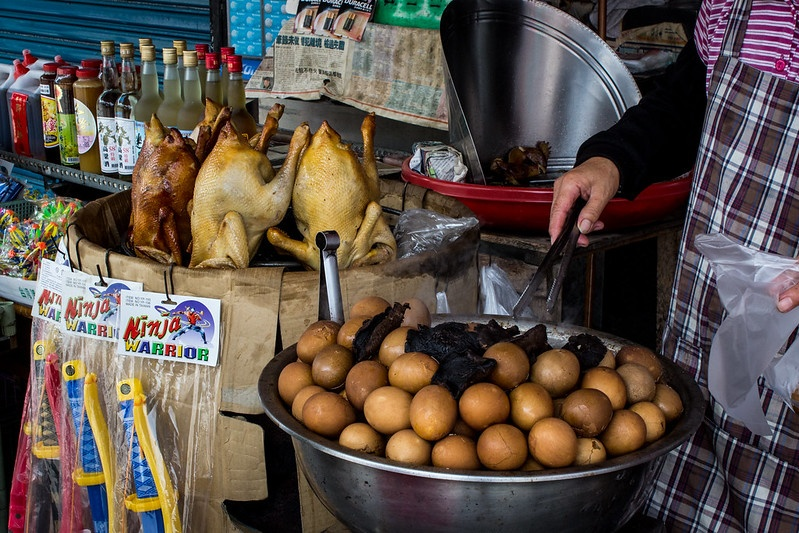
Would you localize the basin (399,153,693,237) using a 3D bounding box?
[{"bbox_3d":[0.587,-0.245,2.403,0.750,0.127,0.755,3,9,0],"label":"basin"}]

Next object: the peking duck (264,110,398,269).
[{"bbox_3d":[-0.187,-0.210,1.770,0.339,0.467,0.150,2,9,5],"label":"peking duck"}]

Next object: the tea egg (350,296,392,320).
[{"bbox_3d":[-0.069,0.100,1.445,0.069,0.041,0.056,-14,-13,-22],"label":"tea egg"}]

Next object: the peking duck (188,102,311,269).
[{"bbox_3d":[-0.443,-0.204,1.804,0.188,0.493,0.257,14,0,-41],"label":"peking duck"}]

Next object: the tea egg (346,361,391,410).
[{"bbox_3d":[-0.072,0.243,1.260,0.086,0.109,0.089,-2,-8,29],"label":"tea egg"}]

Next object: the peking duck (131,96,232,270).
[{"bbox_3d":[-0.641,-0.256,1.949,0.328,0.482,0.149,6,0,41],"label":"peking duck"}]

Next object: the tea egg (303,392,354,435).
[{"bbox_3d":[-0.148,0.286,1.253,0.081,0.062,0.083,21,4,5],"label":"tea egg"}]

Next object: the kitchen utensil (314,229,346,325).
[{"bbox_3d":[-0.176,0.016,1.522,0.064,0.252,0.252,-3,13,-7],"label":"kitchen utensil"}]

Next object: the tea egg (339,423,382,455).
[{"bbox_3d":[-0.075,0.340,1.188,0.072,0.064,0.064,13,35,9],"label":"tea egg"}]

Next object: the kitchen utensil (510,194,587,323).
[{"bbox_3d":[0.350,-0.005,1.526,0.028,0.401,0.086,-35,24,-13],"label":"kitchen utensil"}]

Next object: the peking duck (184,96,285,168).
[{"bbox_3d":[-0.594,-0.443,2.097,0.351,0.148,0.502,-13,17,-3],"label":"peking duck"}]

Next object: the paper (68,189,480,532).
[{"bbox_3d":[-0.259,0.211,1.881,0.939,0.685,0.999,1,16,-1],"label":"paper"}]
